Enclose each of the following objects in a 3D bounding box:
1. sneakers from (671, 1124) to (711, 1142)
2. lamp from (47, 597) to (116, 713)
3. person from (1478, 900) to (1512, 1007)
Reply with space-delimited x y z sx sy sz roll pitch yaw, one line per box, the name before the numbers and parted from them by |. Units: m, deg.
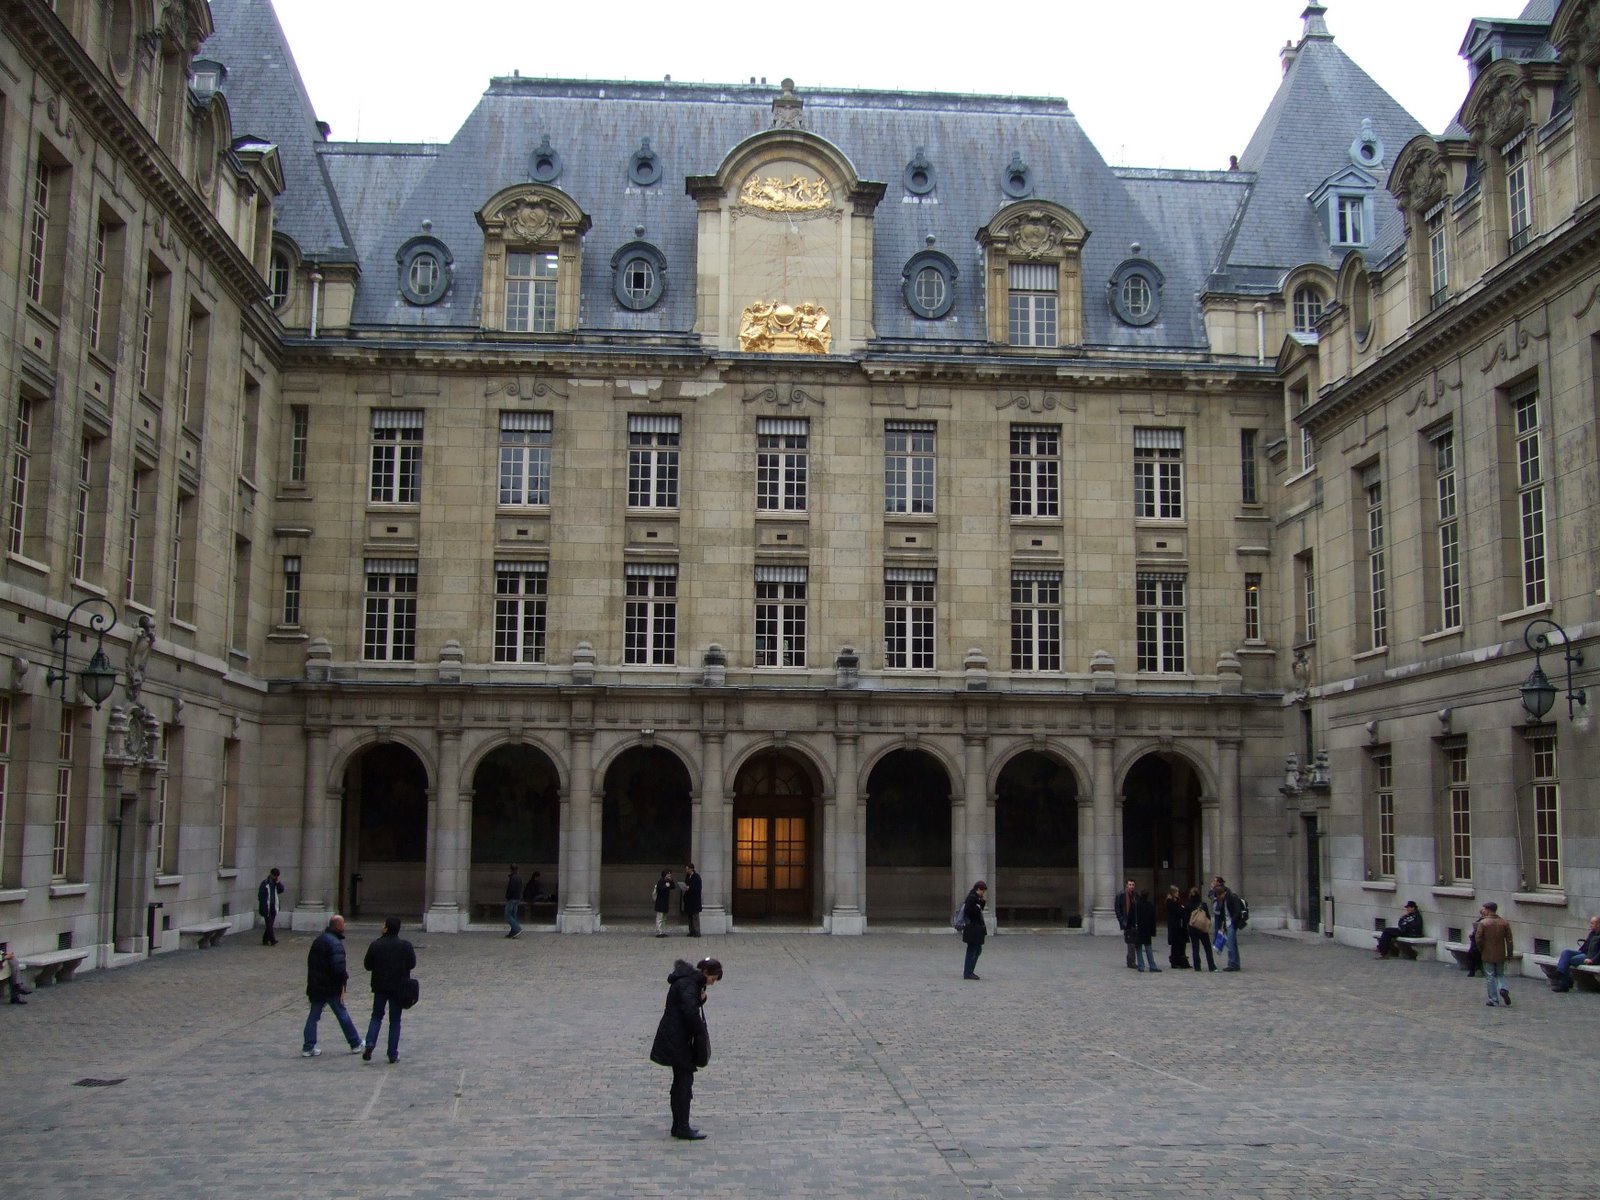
sneakers | -1.431 7.094 23.911 0.577 0.259 0.188 -2 3 -16
lamp | -14.767 0.918 36.896 1.226 2.483 2.630 5 -13 -22
person | 13.419 6.844 34.667 0.586 1.921 1.339 -5 -13 20
